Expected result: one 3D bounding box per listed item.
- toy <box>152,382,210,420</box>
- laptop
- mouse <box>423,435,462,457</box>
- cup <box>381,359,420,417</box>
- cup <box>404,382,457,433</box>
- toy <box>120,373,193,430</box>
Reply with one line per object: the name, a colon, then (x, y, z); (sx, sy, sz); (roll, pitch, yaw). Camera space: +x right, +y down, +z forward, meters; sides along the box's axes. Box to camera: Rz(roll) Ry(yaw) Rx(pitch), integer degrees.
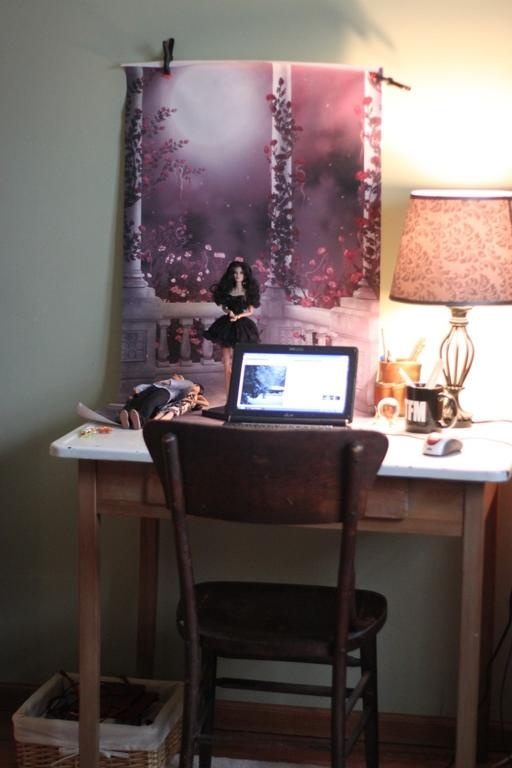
toy: (-0.169, 0.044, 1.741); (0.068, 0.036, 0.104); (23, 10, 11)
laptop: (0.087, 0.001, 1.615); (0.274, 0.182, 0.163); (2, 1, 9)
mouse: (0.356, 0.116, 1.389); (0.054, 0.035, 0.102); (10, 11, 36)
cup: (0.370, 0.012, 1.733); (0.128, 0.128, 0.107); (2, 1, 15)
cup: (0.387, 0.055, 1.585); (0.080, 0.106, 0.123); (-4, 10, -33)
toy: (-0.232, 0.037, 1.673); (0.089, 0.041, 0.162); (-17, 9, 14)
